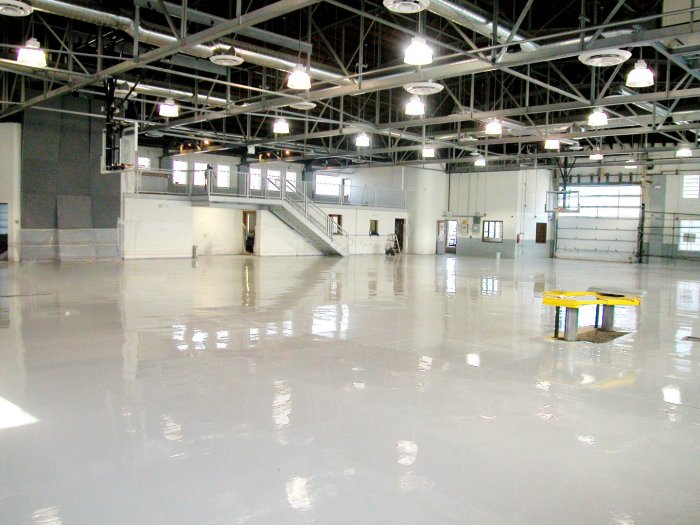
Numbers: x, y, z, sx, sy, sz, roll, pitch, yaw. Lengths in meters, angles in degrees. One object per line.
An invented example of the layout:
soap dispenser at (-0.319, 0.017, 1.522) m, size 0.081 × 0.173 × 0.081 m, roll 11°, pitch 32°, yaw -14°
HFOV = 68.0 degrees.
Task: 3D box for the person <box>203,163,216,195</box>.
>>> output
person at (-7.042, -4.065, 25.837) m, size 0.435 × 1.509 × 0.635 m, roll -3°, pitch 9°, yaw -29°
